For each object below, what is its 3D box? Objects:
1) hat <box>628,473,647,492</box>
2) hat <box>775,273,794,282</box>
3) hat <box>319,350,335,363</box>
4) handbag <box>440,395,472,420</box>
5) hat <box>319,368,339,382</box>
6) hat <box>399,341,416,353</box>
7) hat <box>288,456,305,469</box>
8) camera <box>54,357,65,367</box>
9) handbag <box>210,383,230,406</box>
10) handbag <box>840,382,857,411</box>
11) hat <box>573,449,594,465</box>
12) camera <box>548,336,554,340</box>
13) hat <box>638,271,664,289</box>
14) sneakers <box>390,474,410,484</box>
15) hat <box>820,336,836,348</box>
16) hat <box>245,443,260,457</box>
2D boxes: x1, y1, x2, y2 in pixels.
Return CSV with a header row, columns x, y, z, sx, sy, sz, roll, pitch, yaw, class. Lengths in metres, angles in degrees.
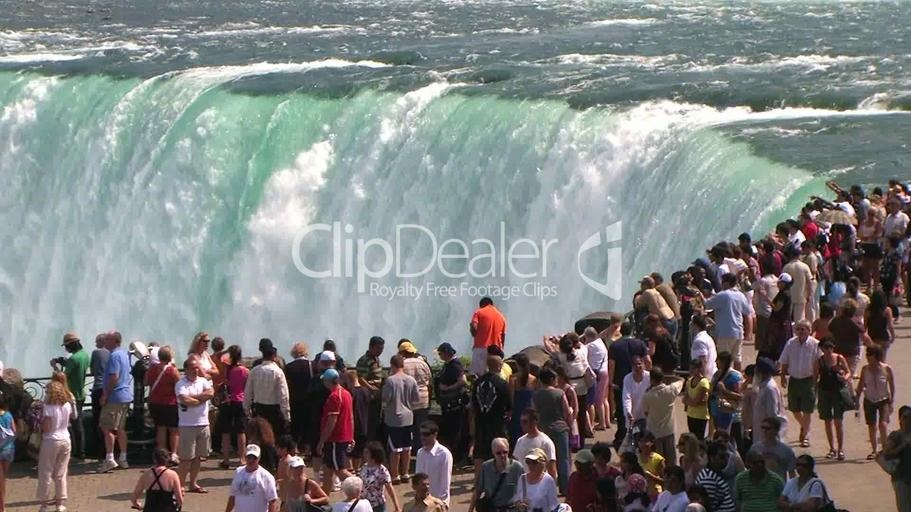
x,y,z,sx,sy,sz,roll,pitch,yaw,class
4.832,6.096,36.180,0.418,0.430,0.514,-3,12,-36,hat
9.694,0.661,40.486,0.262,0.179,0.352,-8,19,-27,hat
-3.411,2.922,38.885,0.417,0.323,0.551,-6,19,-8,hat
0.143,4.357,39.383,0.900,0.537,0.623,-7,-8,14,handbag
-3.289,3.349,38.194,0.306,0.220,0.412,-16,27,-41,hat
-1.233,2.664,39.260,0.449,0.220,0.328,-6,3,20,hat
-4.101,5.653,37.061,0.369,0.345,0.515,-7,19,-12,hat
-11.335,3.200,40.559,0.339,0.125,0.315,9,1,-2,camera
-6.544,4.069,39.914,0.514,0.564,0.667,2,-4,0,handbag
11.038,4.060,38.538,0.337,0.914,0.597,14,26,39,handbag
3.515,5.440,36.578,0.447,0.229,0.321,8,10,14,hat
2.922,2.399,39.934,0.214,0.094,0.097,-4,54,7,camera
5.679,0.742,40.779,0.789,0.376,0.449,-8,7,33,hat
-1.370,6.439,38.920,0.487,0.204,0.197,-5,19,-6,sneakers
10.375,2.454,38.433,0.377,0.300,0.270,-2,19,3,hat
-5.243,5.303,37.005,0.353,0.371,0.601,-5,19,-4,hat
